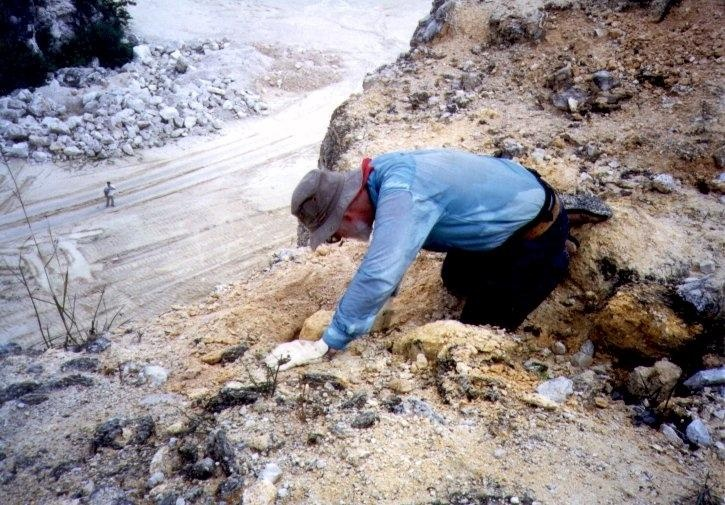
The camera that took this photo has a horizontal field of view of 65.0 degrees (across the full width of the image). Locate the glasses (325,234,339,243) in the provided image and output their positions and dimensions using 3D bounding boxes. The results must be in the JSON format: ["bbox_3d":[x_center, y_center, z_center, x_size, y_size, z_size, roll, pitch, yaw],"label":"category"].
[{"bbox_3d":[-0.254,-0.122,4.850,0.081,0.109,0.043,28,64,-23],"label":"glasses"}]

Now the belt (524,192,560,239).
[{"bbox_3d":[1.546,-0.279,4.847,0.087,0.320,0.337,37,-4,-3],"label":"belt"}]

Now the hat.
[{"bbox_3d":[-0.345,-0.409,4.790,0.355,0.676,0.518,28,6,-16],"label":"hat"}]

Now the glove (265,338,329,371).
[{"bbox_3d":[-0.577,0.877,4.952,0.468,0.144,0.273,-10,27,-13],"label":"glove"}]
